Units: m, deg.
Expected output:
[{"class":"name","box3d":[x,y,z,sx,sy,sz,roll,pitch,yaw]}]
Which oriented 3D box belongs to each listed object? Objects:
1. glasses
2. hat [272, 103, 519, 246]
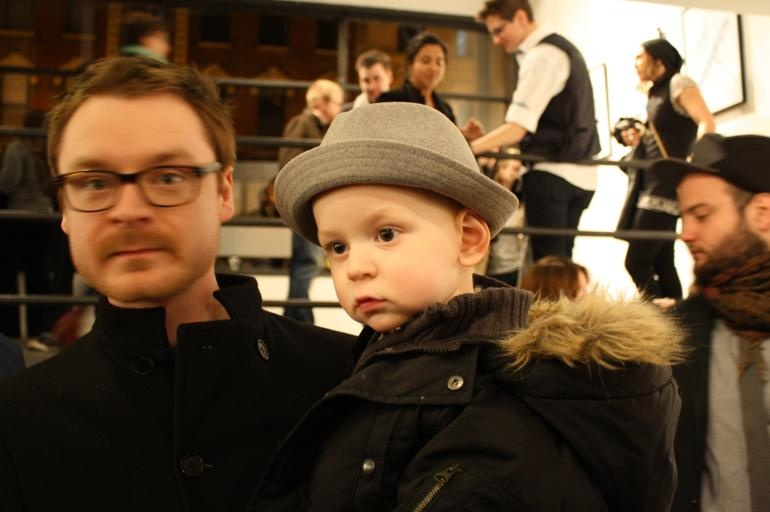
[{"class":"glasses","box3d":[-0.749,-0.205,2.471,0.469,0.157,0.110,0,3,-16]},{"class":"hat","box3d":[0.043,-0.255,2.627,0.752,0.277,0.660,7,-11,-26]}]
